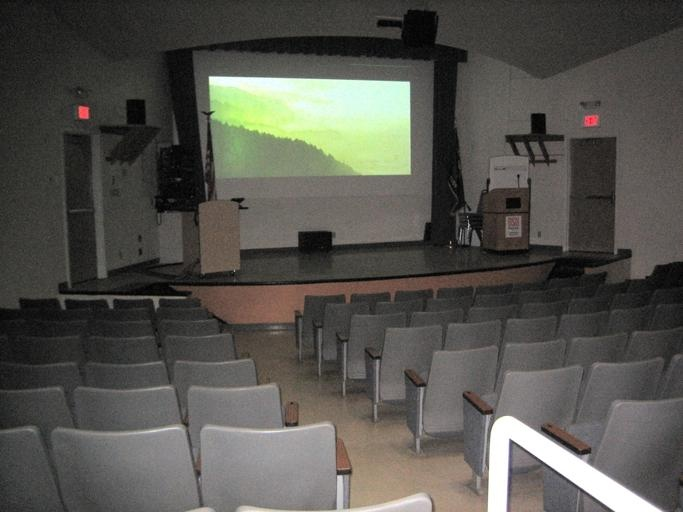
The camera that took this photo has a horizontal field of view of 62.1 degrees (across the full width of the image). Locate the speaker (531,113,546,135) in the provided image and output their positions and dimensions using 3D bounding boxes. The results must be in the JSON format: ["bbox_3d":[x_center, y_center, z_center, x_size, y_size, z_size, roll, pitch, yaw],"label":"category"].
[{"bbox_3d":[3.729,-2.518,10.813,0.258,0.472,0.657,2,7,16],"label":"speaker"}]

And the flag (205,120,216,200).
[{"bbox_3d":[-2.675,-1.999,11.533,0.199,1.696,0.921,-2,7,-13],"label":"flag"}]

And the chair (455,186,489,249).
[{"bbox_3d":[2.760,-0.780,12.403,0.541,1.207,2.117,1,6,12],"label":"chair"}]

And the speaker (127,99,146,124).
[{"bbox_3d":[-3.261,-2.279,9.002,0.274,0.421,0.187,-4,8,-28],"label":"speaker"}]

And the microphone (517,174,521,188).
[{"bbox_3d":[3.413,-1.476,11.051,0.067,0.233,0.033,3,7,23],"label":"microphone"}]
